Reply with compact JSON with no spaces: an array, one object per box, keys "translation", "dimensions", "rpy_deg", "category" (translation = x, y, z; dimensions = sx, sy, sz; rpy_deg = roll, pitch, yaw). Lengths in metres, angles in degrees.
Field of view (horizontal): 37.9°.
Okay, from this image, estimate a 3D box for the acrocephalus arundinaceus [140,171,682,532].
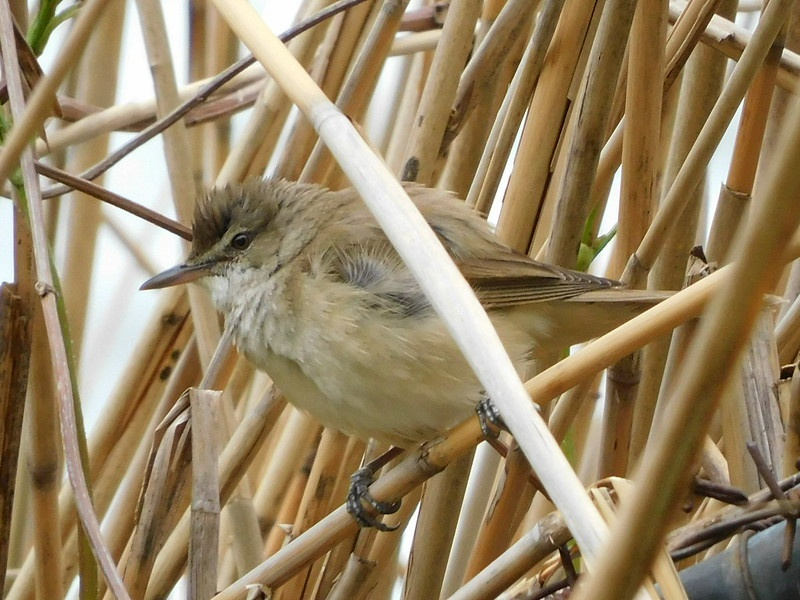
[{"translation":[-0.064,0.002,3.147],"dimensions":[1.293,0.792,0.423],"rpy_deg":[7,-51,-3],"category":"acrocephalus arundinaceus"}]
